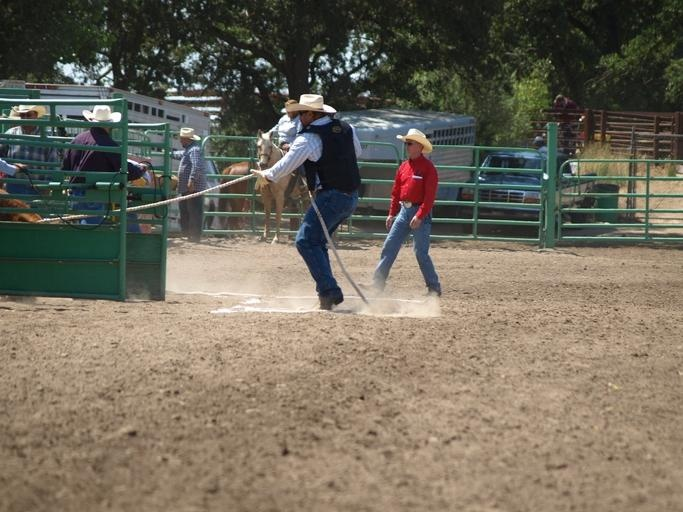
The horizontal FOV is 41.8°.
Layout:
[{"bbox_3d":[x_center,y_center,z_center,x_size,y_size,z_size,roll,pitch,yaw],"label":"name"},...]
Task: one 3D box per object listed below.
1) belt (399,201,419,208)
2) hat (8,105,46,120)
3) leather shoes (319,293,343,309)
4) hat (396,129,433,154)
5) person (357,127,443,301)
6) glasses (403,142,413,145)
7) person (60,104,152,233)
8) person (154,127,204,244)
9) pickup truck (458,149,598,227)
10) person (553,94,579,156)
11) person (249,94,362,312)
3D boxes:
[{"bbox_3d":[0.821,-0.650,11.128,0.102,0.075,0.244,-4,7,-43],"label":"belt"},{"bbox_3d":[-4.028,-1.880,11.462,0.304,0.136,0.336,-11,-7,-5],"label":"hat"},{"bbox_3d":[-0.119,0.500,9.964,0.203,0.169,0.171,-2,0,21],"label":"leather shoes"},{"bbox_3d":[0.929,-1.456,11.165,0.350,0.264,0.419,1,5,0],"label":"hat"},{"bbox_3d":[0.861,-0.554,11.308,0.840,2.087,0.846,2,5,7],"label":"person"},{"bbox_3d":[0.825,-1.404,11.021,0.100,0.040,0.040,5,6,37],"label":"glasses"},{"bbox_3d":[-2.706,-1.008,10.171,0.891,1.499,1.178,-1,5,-18],"label":"person"},{"bbox_3d":[-2.658,-1.252,15.593,0.550,1.980,1.180,0,5,-11],"label":"person"},{"bbox_3d":[3.755,-1.403,18.039,2.553,1.544,4.977,2,5,15],"label":"pickup truck"},{"bbox_3d":[7.860,-4.659,31.505,0.819,2.093,1.431,2,5,14],"label":"person"},{"bbox_3d":[-0.290,-0.605,9.954,0.954,2.422,0.758,1,5,1],"label":"person"}]
